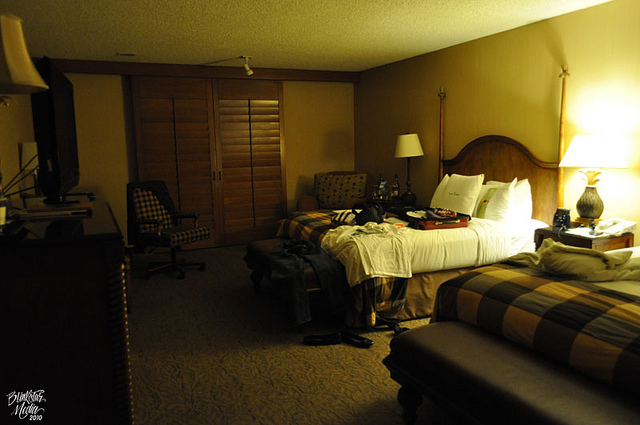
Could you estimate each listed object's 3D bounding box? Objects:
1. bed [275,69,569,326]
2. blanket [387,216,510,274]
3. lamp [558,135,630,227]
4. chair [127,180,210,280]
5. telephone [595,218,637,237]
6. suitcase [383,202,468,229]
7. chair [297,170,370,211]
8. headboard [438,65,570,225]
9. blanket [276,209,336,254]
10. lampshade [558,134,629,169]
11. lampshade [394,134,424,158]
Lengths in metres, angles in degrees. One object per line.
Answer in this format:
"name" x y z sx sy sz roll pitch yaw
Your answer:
"bed" 1.012 0.035 5.195 2.782 2.369 2.682 0 1 -13
"blanket" 1.346 0.387 4.579 1.307 0.288 1.250 -4 -7 -25
"lamp" 2.570 -0.278 4.125 0.668 0.772 0.629 6 -1 -12
"chair" -1.910 0.185 5.555 0.907 1.072 0.825 8 11 37
"telephone" 2.672 0.131 3.942 0.404 0.130 0.197 -7 12 -35
"suitcase" 1.081 0.032 4.528 0.552 0.171 0.771 -4 10 -18
"chair" 0.236 -0.263 6.691 0.884 0.693 0.740 5 3 32
"headboard" 2.083 -0.732 4.811 0.091 1.811 1.914 -3 8 -32
"blanket" -0.078 0.179 4.910 0.518 0.133 0.492 -9 19 -29
"lampshade" 2.463 -0.544 3.898 0.421 0.211 0.367 3 7 26
"lampshade" 1.172 -0.895 5.873 0.344 0.306 0.323 -8 13 -7
